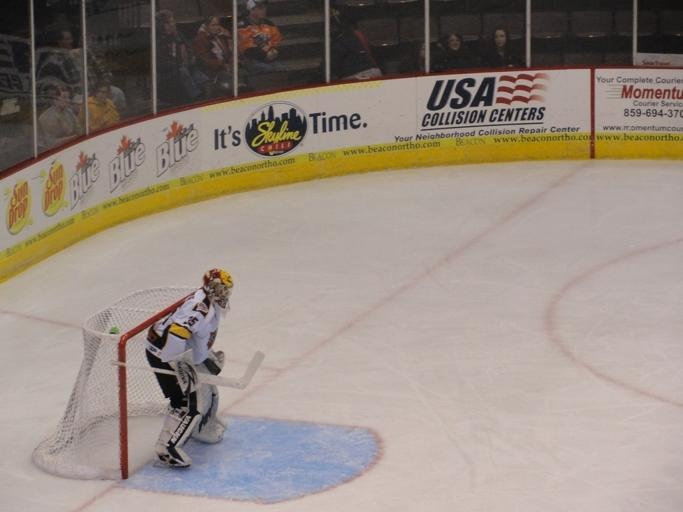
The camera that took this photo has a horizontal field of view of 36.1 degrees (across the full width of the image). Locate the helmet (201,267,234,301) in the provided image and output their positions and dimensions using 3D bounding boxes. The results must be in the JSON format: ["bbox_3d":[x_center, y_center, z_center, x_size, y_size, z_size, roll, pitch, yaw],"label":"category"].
[{"bbox_3d":[-1.171,0.239,9.911,0.379,0.293,0.240,-3,30,-5],"label":"helmet"}]

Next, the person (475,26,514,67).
[{"bbox_3d":[2.832,-3.595,18.136,0.863,0.660,0.439,4,13,28],"label":"person"}]

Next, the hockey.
[{"bbox_3d":[-1.328,1.025,9.696,1.501,0.432,0.489,2,7,20],"label":"hockey"}]

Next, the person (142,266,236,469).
[{"bbox_3d":[-1.464,1.157,10.100,0.995,1.878,1.100,13,35,4],"label":"person"}]
